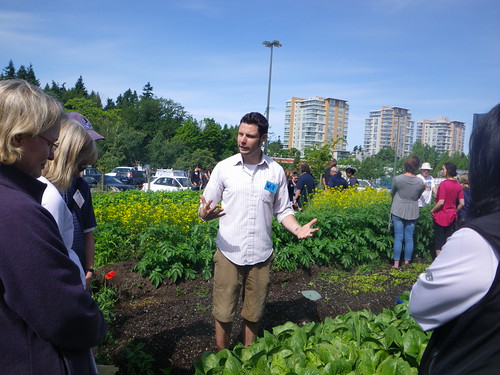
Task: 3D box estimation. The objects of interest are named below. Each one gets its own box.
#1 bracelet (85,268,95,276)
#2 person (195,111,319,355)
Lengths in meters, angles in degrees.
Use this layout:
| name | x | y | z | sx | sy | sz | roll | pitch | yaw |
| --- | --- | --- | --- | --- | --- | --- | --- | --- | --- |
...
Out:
| name | x | y | z | sx | sy | sz | roll | pitch | yaw |
| --- | --- | --- | --- | --- | --- | --- | --- | --- | --- |
| bracelet | -1.262 | 0.669 | 3.376 | 0.053 | 0.062 | 0.056 | 5 | -5 | 18 |
| person | -0.014 | 0.373 | 3.953 | 0.808 | 2.089 | 0.535 | 1 | 9 | -18 |
